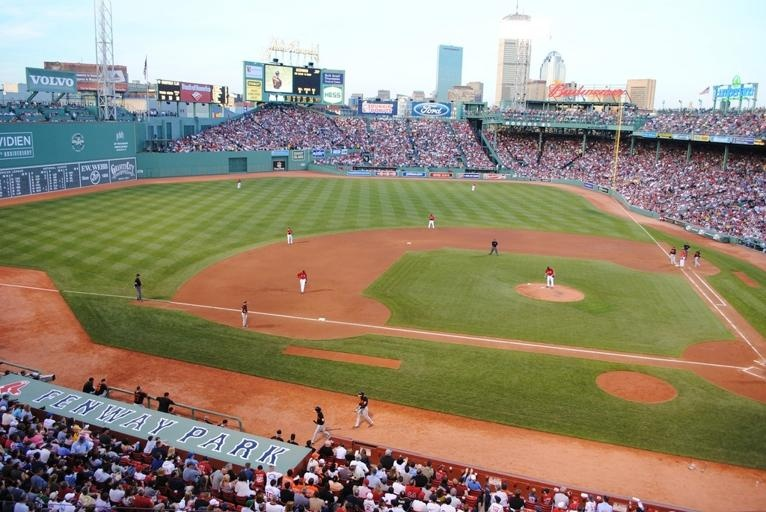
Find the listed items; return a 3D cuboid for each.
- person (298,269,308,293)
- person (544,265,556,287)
[{"bbox_3d":[-5.302,1.498,36.663,0.535,1.266,1.831,-1,15,-7],"label":"person"},{"bbox_3d":[11.076,1.292,37.900,0.571,1.259,1.762,7,16,17],"label":"person"}]
